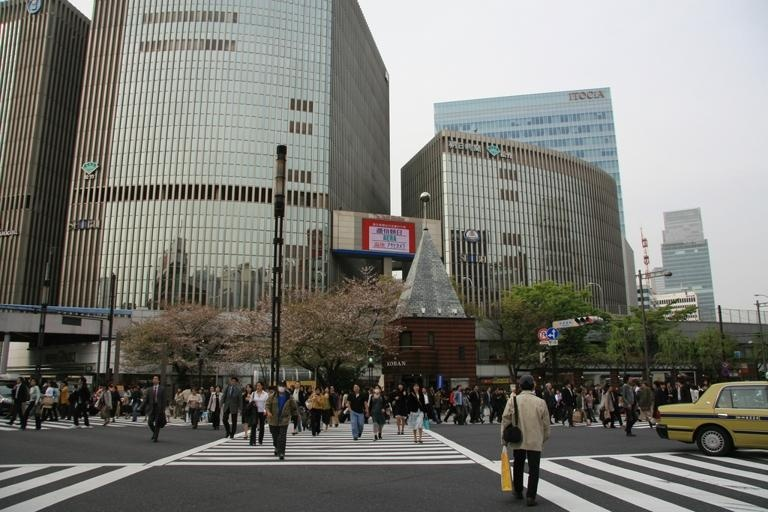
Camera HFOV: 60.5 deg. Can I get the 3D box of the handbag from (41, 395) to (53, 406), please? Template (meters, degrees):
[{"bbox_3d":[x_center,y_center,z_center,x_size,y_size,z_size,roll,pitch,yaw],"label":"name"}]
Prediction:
[{"bbox_3d":[-16.304,7.070,31.870,0.639,0.470,0.362,-4,-10,15],"label":"handbag"}]

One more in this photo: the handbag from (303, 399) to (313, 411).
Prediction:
[{"bbox_3d":[-3.491,6.917,30.724,0.272,0.544,0.391,13,-24,-37],"label":"handbag"}]

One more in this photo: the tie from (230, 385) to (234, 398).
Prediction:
[{"bbox_3d":[-6.670,5.957,29.057,0.268,0.453,0.106,6,-4,25],"label":"tie"}]

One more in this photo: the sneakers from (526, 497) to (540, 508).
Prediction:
[{"bbox_3d":[4.013,6.582,17.734,0.384,0.227,0.193,6,-11,-30],"label":"sneakers"}]

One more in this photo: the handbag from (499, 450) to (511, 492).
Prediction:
[{"bbox_3d":[3.347,5.800,17.975,0.236,1.155,0.450,-2,-10,15],"label":"handbag"}]
